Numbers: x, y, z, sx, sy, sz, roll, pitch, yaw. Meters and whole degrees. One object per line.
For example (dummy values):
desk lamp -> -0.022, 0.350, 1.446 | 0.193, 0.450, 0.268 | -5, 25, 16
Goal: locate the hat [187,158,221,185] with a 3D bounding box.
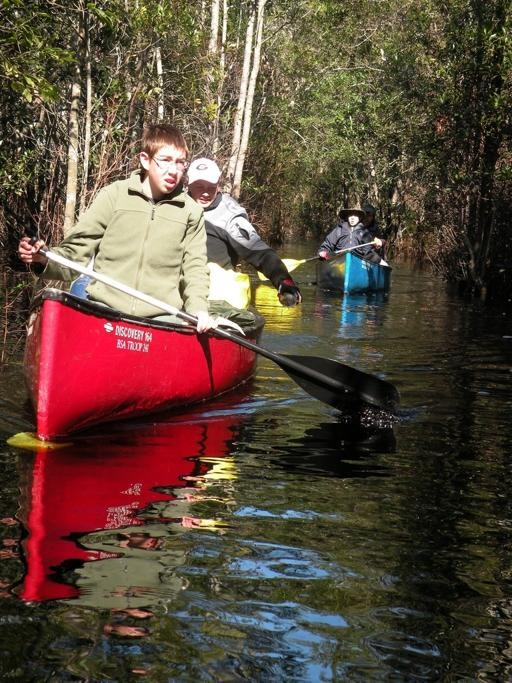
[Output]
hat -> -0.320, -1.072, 4.366 | 0.165, 0.103, 0.202 | 2, 2, -1

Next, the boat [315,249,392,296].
boat -> 1.688, -1.065, 12.427 | 1.222, 0.595, 2.094 | 4, -3, 10

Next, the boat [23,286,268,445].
boat -> -0.670, 0.156, 4.074 | 0.704, 0.614, 2.457 | -8, -6, 10

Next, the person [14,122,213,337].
person -> -0.626, -0.454, 3.386 | 0.997, 1.043, 0.540 | 9, 29, 3
